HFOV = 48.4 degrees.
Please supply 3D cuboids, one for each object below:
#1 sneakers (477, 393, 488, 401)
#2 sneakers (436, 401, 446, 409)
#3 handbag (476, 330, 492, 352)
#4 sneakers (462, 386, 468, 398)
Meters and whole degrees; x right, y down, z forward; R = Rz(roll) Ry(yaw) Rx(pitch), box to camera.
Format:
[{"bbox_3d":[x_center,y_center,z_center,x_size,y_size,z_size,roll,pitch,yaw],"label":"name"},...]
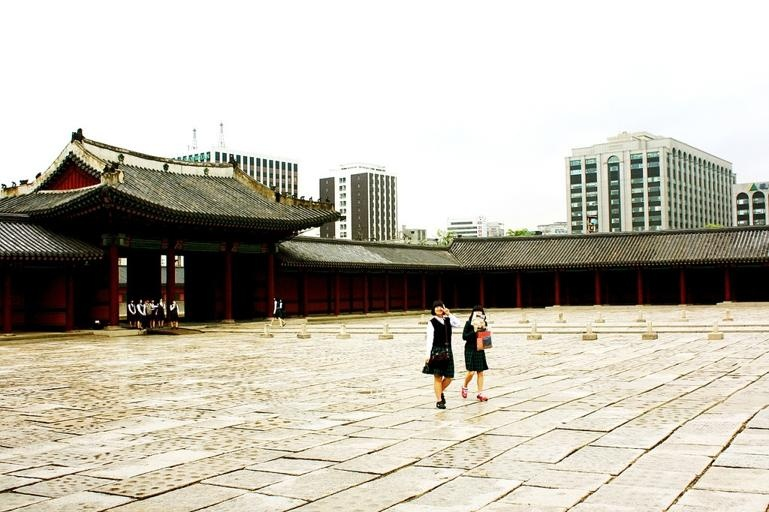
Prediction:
[{"bbox_3d":[2.072,3.014,18.377,0.281,0.145,0.119,-2,-2,21],"label":"sneakers"},{"bbox_3d":[1.153,3.061,17.740,0.109,0.078,0.202,1,-9,-19],"label":"sneakers"},{"bbox_3d":[2.134,1.773,18.382,0.167,0.432,0.425,2,6,44],"label":"handbag"},{"bbox_3d":[1.705,2.924,18.543,0.109,0.233,0.099,-5,-1,36],"label":"sneakers"}]
